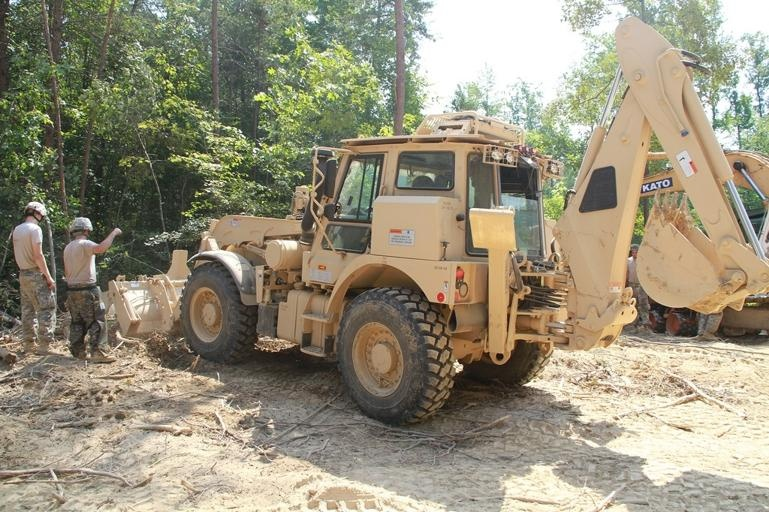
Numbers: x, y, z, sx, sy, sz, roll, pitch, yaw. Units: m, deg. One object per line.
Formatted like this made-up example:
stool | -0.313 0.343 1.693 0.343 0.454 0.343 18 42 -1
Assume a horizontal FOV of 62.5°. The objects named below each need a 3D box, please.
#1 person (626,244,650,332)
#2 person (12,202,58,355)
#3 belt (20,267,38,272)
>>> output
person | 5.953 0.642 14.998 0.499 0.307 2.256 -6 20 21
person | -5.608 0.336 10.172 0.701 2.399 0.446 4 2 14
belt | -5.681 0.214 10.117 0.246 0.071 0.048 3 1 3
